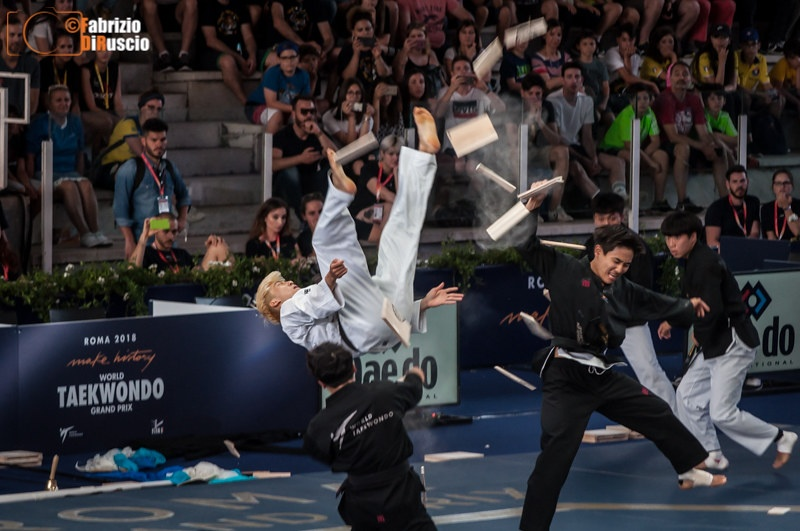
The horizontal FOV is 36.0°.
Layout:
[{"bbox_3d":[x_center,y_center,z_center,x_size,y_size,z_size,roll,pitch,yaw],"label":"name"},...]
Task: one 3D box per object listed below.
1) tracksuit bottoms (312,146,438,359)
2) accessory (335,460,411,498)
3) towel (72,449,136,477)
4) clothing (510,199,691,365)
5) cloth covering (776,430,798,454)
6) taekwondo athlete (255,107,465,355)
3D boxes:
[{"bbox_3d":[-0.236,-0.128,11.373,1.174,1.906,0.496,-13,9,-36],"label":"tracksuit bottoms"},{"bbox_3d":[-0.247,1.905,10.837,0.667,0.300,0.203,-2,3,6],"label":"accessory"},{"bbox_3d":[-3.266,2.149,13.307,0.465,0.205,0.281,-7,17,-5],"label":"towel"},{"bbox_3d":[1.871,0.458,12.220,2.208,1.282,0.640,20,-13,-20],"label":"clothing"},{"bbox_3d":[4.171,1.938,13.268,0.189,0.237,0.171,-1,3,15],"label":"cloth covering"},{"bbox_3d":[-0.186,-0.356,11.664,1.810,2.425,1.444,8,-11,-20],"label":"taekwondo athlete"}]
